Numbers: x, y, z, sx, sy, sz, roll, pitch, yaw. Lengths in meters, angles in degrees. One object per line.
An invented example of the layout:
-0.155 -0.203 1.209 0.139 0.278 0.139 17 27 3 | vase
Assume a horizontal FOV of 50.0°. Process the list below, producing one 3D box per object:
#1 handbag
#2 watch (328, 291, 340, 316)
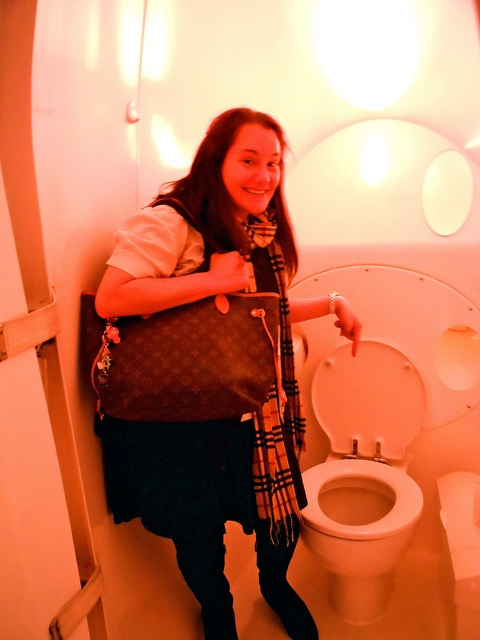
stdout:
-0.117 -0.012 0.919 0.347 0.519 0.194 1 -16 -12 | handbag
0.243 -0.044 1.367 0.019 0.055 0.040 5 -16 -3 | watch
